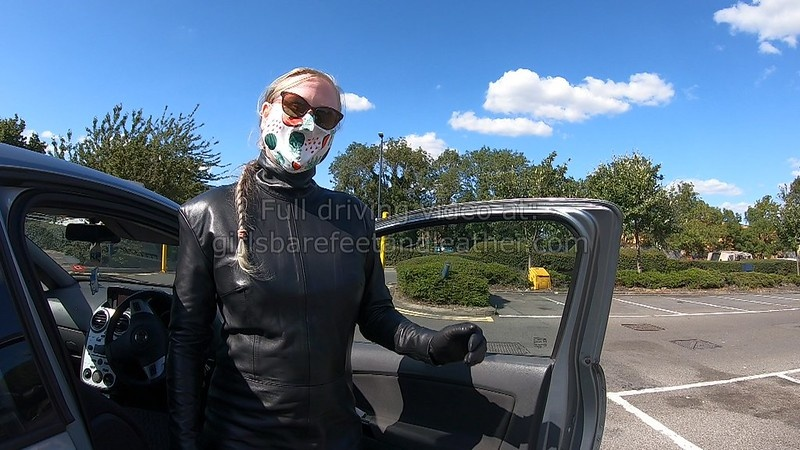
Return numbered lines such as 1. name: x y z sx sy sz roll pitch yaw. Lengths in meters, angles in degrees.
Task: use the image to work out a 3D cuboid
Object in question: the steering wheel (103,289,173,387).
1. steering wheel: -1.949 0.818 2.980 0.721 0.681 0.185 1 -1 -6
